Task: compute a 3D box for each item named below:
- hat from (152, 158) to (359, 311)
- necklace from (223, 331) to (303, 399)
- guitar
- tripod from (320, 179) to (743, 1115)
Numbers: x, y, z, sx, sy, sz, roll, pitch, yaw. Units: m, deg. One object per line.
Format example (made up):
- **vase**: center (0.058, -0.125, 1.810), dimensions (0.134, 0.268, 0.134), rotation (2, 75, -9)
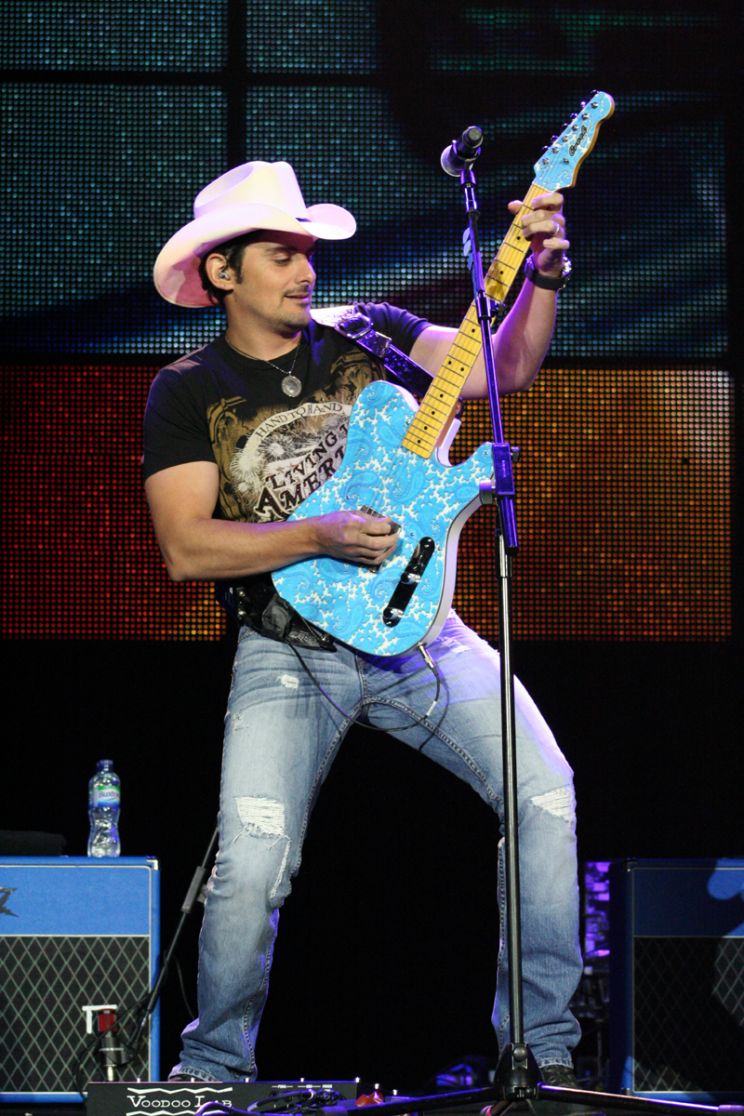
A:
- **hat**: center (-0.276, -0.683, 2.986), dimensions (0.418, 0.165, 0.297), rotation (-20, -10, 23)
- **necklace**: center (-0.220, -0.384, 2.906), dimensions (0.068, 0.171, 0.015), rotation (-41, -16, -12)
- **guitar**: center (0.253, -0.271, 2.860), dimensions (0.499, 1.273, 0.137), rotation (34, 11, 21)
- **tripod**: center (0.225, 0.110, 2.790), dimensions (0.710, 1.521, 0.178), rotation (-2, 5, 27)
